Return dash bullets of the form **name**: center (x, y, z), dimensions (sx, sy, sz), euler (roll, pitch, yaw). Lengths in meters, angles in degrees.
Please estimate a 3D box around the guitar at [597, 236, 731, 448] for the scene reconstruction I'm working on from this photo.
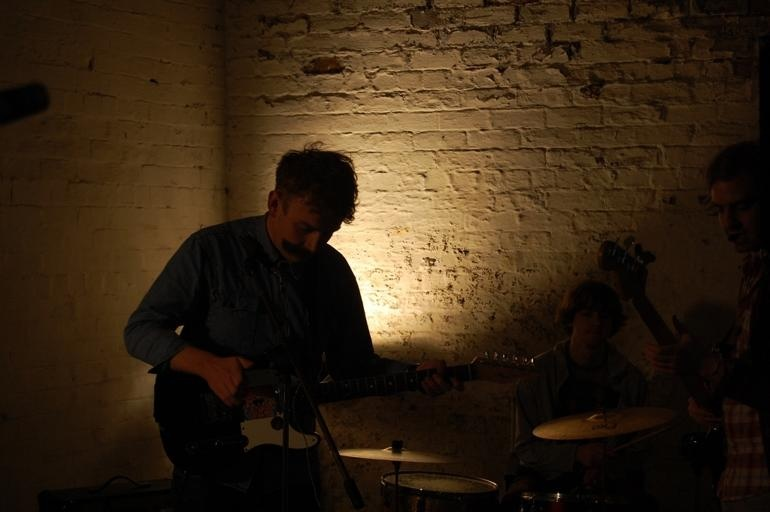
- **guitar**: center (1.698, 0.478, 4.103), dimensions (0.194, 1.284, 0.525), euler (-7, -34, -43)

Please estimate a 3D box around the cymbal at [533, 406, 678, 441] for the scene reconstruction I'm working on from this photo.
- **cymbal**: center (1.342, 0.935, 4.162), dimensions (0.748, 0.133, 0.721), euler (-11, -7, 8)
